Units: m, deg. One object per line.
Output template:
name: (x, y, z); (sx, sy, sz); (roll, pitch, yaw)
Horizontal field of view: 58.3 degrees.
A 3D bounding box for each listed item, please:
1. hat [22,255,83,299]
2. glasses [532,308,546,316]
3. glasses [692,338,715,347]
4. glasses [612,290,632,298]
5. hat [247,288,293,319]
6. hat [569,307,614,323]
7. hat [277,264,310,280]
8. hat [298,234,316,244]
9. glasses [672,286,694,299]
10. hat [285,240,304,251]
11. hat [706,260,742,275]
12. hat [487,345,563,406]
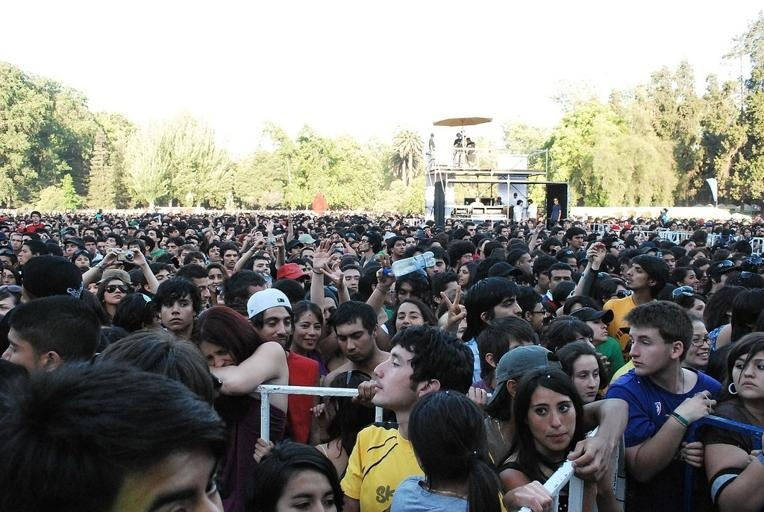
hat: (-2.482, 0.171, 5.203); (0.400, 0.334, 0.424); (-2, 6, -25)
glasses: (1.456, 0.529, 6.464); (0.133, 0.038, 0.128); (2, -4, -2)
glasses: (2.502, 0.680, 5.404); (0.213, 0.064, 0.219); (-4, -5, 6)
glasses: (2.584, 0.407, 7.413); (0.157, 0.052, 0.153); (-2, 3, 23)
hat: (-0.799, 0.354, 4.959); (0.272, 0.211, 0.196); (-5, -5, 35)
hat: (1.762, 0.504, 5.828); (0.329, 0.110, 0.210); (-7, 1, 25)
hat: (-1.054, 0.184, 7.841); (0.275, 0.136, 0.207); (-4, -4, 23)
hat: (-1.171, -0.253, 10.695); (0.223, 0.110, 0.172); (-2, 10, 12)
glasses: (2.986, 0.360, 6.870); (0.153, 0.076, 0.191); (4, 10, -4)
hat: (-1.380, -0.175, 10.811); (0.232, 0.135, 0.168); (-28, -16, 35)
hat: (3.902, 0.128, 7.955); (0.185, 0.086, 0.262); (-2, -4, -8)
hat: (0.822, 0.677, 4.199); (0.551, 0.273, 0.381); (-20, -17, 8)
